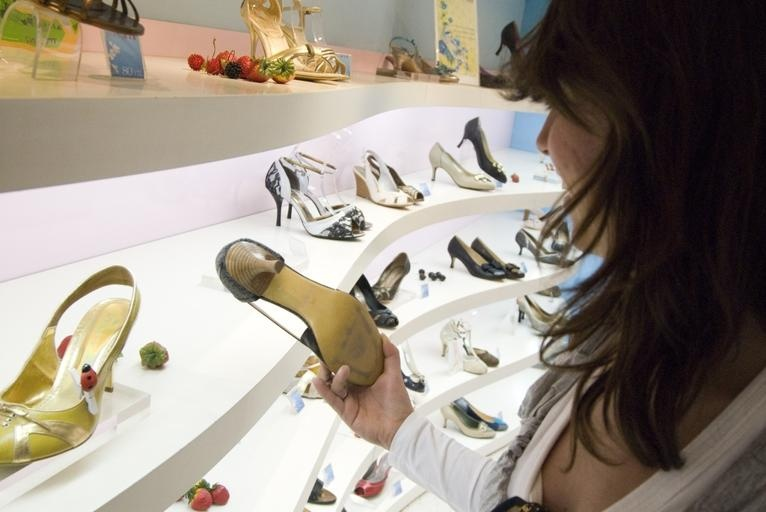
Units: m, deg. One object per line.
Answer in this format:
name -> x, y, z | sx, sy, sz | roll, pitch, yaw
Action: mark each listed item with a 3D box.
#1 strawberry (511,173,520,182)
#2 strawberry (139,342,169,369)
strawberry -> 0.875, -0.505, 3.025 | 0.068, 0.063, 0.069 | 0, 8, -4
strawberry -> -0.459, 0.203, 0.924 | 0.053, 0.053, 0.020 | 13, -3, -27
